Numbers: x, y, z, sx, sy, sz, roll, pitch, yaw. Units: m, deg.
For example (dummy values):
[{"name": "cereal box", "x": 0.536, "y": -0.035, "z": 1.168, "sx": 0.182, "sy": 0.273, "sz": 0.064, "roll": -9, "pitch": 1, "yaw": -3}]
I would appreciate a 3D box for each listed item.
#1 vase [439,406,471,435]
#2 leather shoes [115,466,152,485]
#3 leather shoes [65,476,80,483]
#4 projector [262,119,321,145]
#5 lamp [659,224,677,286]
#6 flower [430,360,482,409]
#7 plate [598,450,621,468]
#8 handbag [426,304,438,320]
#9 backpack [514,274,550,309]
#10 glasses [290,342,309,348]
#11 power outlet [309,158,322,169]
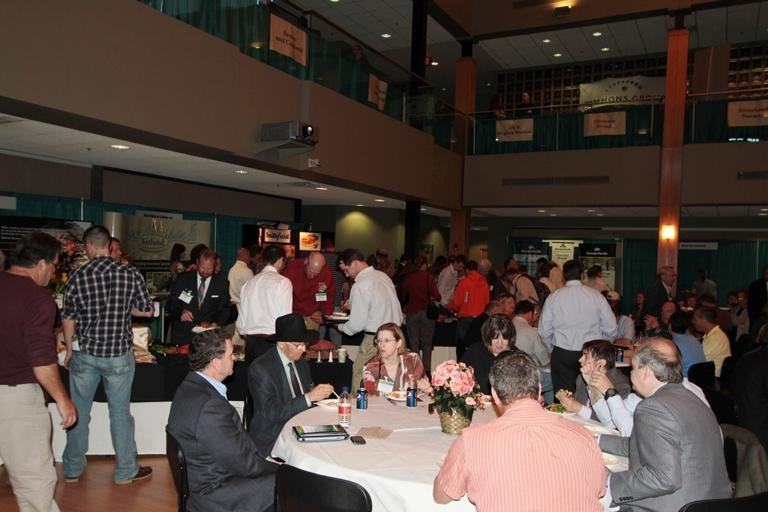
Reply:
[{"name": "vase", "x": 0.530, "y": 1.205, "z": 4.441, "sx": 0.216, "sy": 0.151, "sz": 0.213, "roll": 3, "pitch": -8, "yaw": -29}, {"name": "leather shoes", "x": -2.345, "y": 2.031, "z": 5.580, "sx": 0.111, "sy": 0.114, "sz": 0.266, "roll": 4, "pitch": 3, "yaw": 37}, {"name": "leather shoes", "x": -2.909, "y": 2.068, "z": 5.530, "sx": 0.128, "sy": 0.052, "sz": 0.077, "roll": 2, "pitch": -3, "yaw": -24}, {"name": "projector", "x": -1.297, "y": -1.690, "z": 8.036, "sx": 0.789, "sy": 0.305, "sz": 0.365, "roll": 1, "pitch": -3, "yaw": -8}, {"name": "lamp", "x": 5.826, "y": 0.100, "z": 12.148, "sx": 0.372, "sy": 1.677, "sz": 0.349, "roll": 2, "pitch": -29, "yaw": 24}, {"name": "flower", "x": 0.529, "y": 0.964, "z": 4.392, "sx": 0.349, "sy": 0.354, "sz": 0.357, "roll": 2, "pitch": -14, "yaw": 6}, {"name": "plate", "x": 1.594, "y": 1.423, "z": 4.166, "sx": 0.209, "sy": 0.033, "sz": 0.210, "roll": 0, "pitch": 2, "yaw": -1}, {"name": "handbag", "x": 0.720, "y": 0.838, "z": 8.985, "sx": 0.222, "sy": 0.217, "sz": 0.101, "roll": 2, "pitch": 5, "yaw": -10}, {"name": "backpack", "x": 2.250, "y": 0.538, "z": 9.064, "sx": 0.211, "sy": 0.377, "sz": 0.383, "roll": -20, "pitch": 17, "yaw": 28}, {"name": "glasses", "x": -0.707, "y": 0.727, "z": 4.898, "sx": 0.085, "sy": 0.025, "sz": 0.086, "roll": 13, "pitch": -4, "yaw": -20}, {"name": "power outlet", "x": -1.039, "y": -1.408, "z": 8.917, "sx": 0.140, "sy": 0.176, "sz": 0.265, "roll": 0, "pitch": -3, "yaw": 8}]
